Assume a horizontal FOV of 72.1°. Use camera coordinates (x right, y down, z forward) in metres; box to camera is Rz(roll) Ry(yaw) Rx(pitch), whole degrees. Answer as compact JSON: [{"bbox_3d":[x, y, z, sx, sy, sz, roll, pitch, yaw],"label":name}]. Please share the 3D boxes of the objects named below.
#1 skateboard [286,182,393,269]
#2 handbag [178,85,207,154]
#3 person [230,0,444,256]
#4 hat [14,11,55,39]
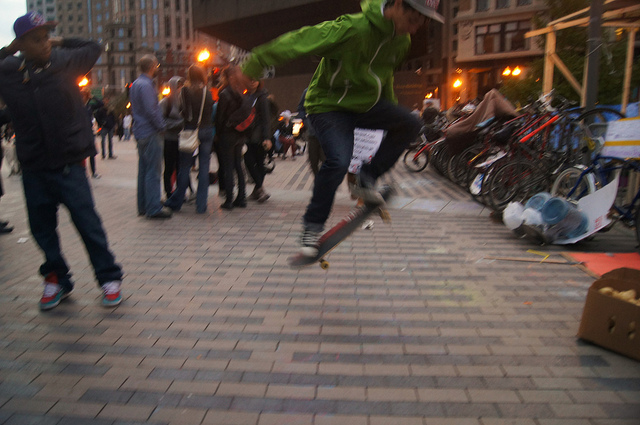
[{"bbox_3d":[0.270,0.199,5.331,1.413,0.212,0.337,-43,34,3],"label":"skateboard"},{"bbox_3d":[-2.236,-1.642,7.838,0.558,1.181,0.277,-4,15,-13],"label":"handbag"},{"bbox_3d":[0.255,-0.828,4.233,1.641,2.320,0.635,-5,15,-16],"label":"person"},{"bbox_3d":[-2.481,-1.650,3.847,0.313,0.168,0.214,-20,23,11],"label":"hat"}]
